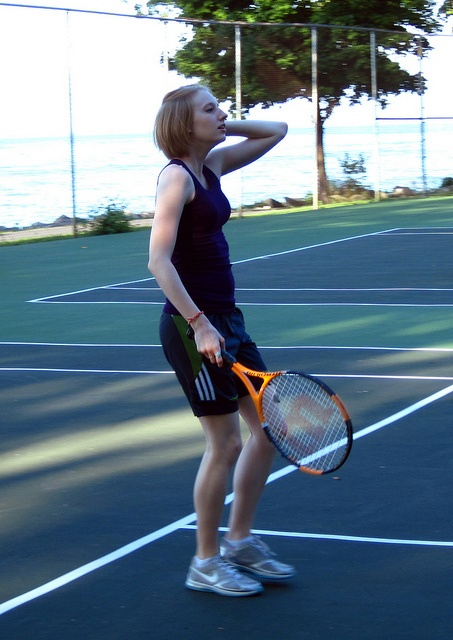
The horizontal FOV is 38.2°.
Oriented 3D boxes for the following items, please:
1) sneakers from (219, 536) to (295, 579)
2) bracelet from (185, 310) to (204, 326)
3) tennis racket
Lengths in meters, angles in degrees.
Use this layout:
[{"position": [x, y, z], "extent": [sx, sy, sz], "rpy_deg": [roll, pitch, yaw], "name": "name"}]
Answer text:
[{"position": [0.106, 0.825, 2.341], "extent": [0.303, 0.109, 0.101], "rpy_deg": [16, -12, 21], "name": "sneakers"}, {"position": [-0.099, -0.007, 2.023], "extent": [0.042, 0.015, 0.054], "rpy_deg": [-19, -17, -44], "name": "bracelet"}, {"position": [0.185, 0.349, 2.767], "extent": [0.097, 0.290, 0.913], "rpy_deg": [-7, 24, -45], "name": "tennis racket"}]
